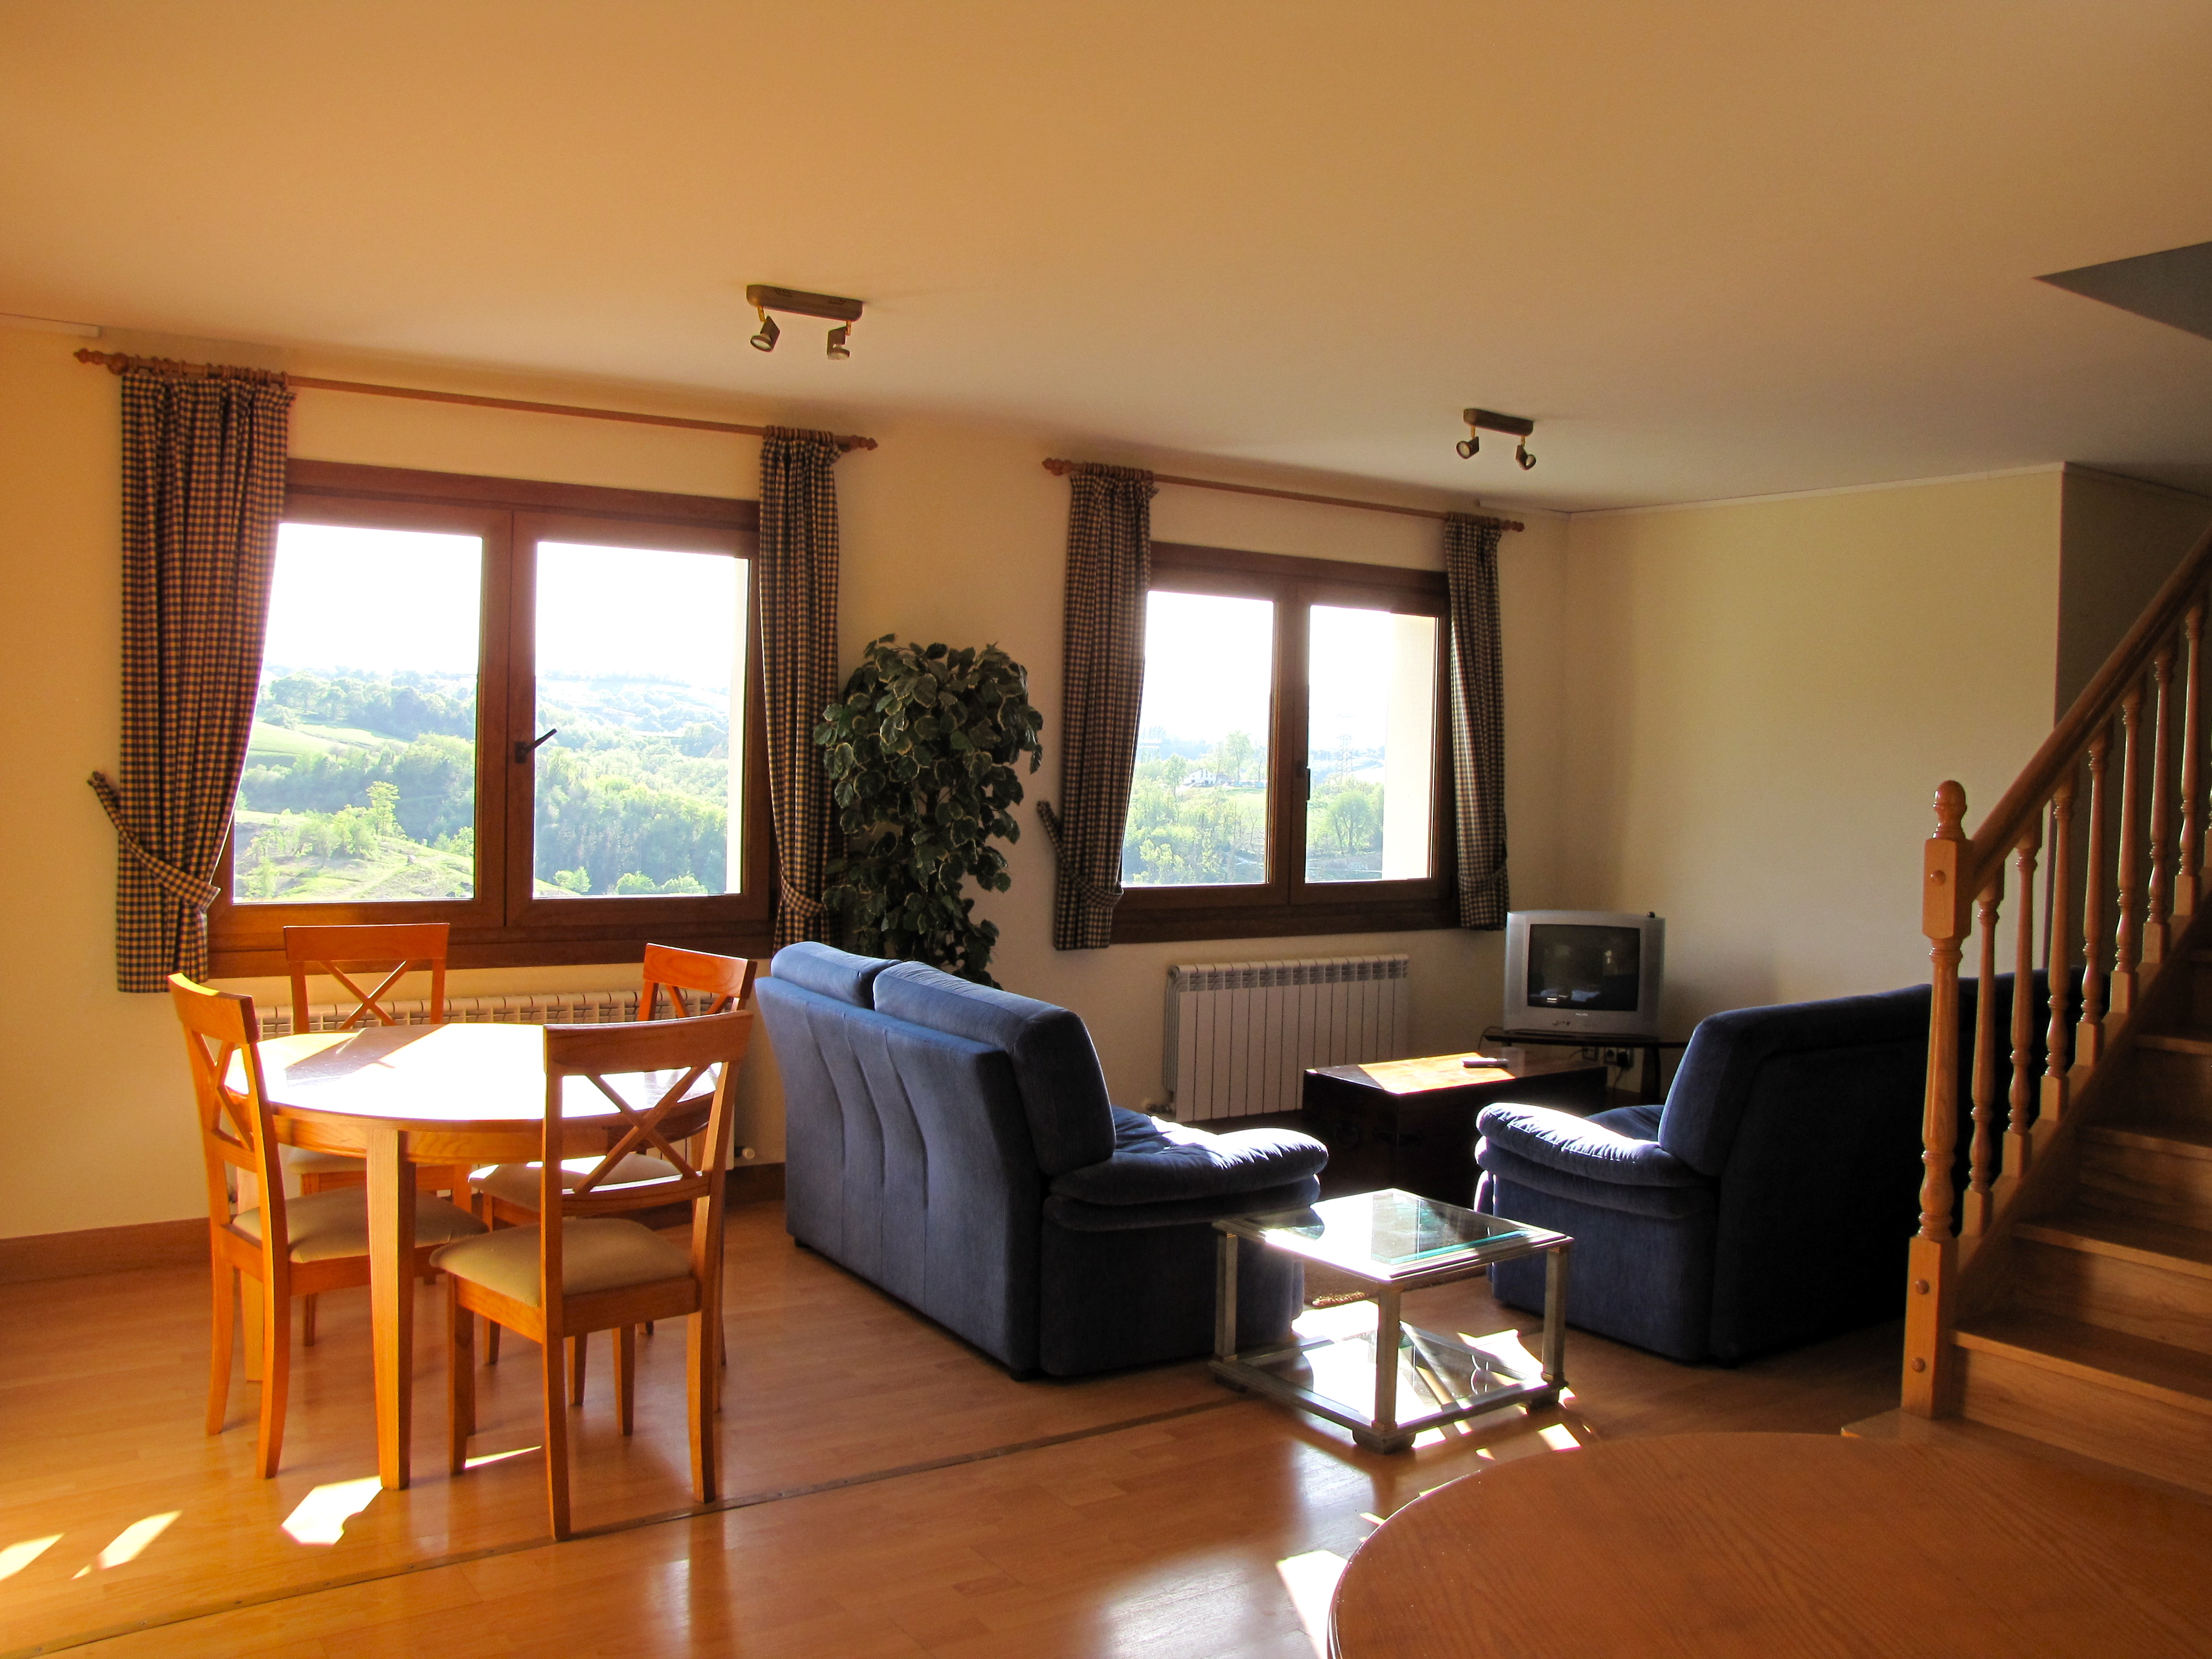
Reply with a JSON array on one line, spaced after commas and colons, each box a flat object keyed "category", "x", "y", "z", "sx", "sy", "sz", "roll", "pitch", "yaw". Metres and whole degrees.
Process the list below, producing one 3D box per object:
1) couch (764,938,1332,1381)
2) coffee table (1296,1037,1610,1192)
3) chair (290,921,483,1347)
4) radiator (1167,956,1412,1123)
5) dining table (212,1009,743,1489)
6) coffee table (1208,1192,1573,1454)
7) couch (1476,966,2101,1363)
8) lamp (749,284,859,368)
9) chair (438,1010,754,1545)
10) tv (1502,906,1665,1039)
[{"category": "couch", "x": -0.338, "y": 1.002, "z": 5.787, "sx": 1.222, "sy": 1.115, "sz": 1.988, "roll": 3, "pitch": 0, "yaw": -31}, {"category": "coffee table", "x": 1.234, "y": 1.147, "z": 7.019, "sx": 0.999, "sy": 0.487, "sz": 0.511, "roll": -1, "pitch": 2, "yaw": -30}, {"category": "chair", "x": -2.429, "y": 0.951, "z": 5.575, "sx": 0.684, "sy": 1.037, "sz": 0.787, "roll": -10, "pitch": -26, "yaw": -19}, {"category": "radiator", "x": 0.914, "y": 0.951, "z": 7.908, "sx": 1.193, "sy": 0.718, "sz": 0.136, "roll": -3, "pitch": 11, "yaw": -16}, {"category": "dining table", "x": -1.572, "y": 0.967, "z": 4.616, "sx": 1.244, "sy": 0.942, "sz": 1.286, "roll": -1, "pitch": 6, "yaw": -10}, {"category": "coffee table", "x": 0.872, "y": 1.376, "z": 4.999, "sx": 1.000, "sy": 0.523, "sz": 0.719, "roll": -4, "pitch": 9, "yaw": -31}, {"category": "couch", "x": 2.223, "y": 1.056, "z": 5.846, "sx": 1.820, "sy": 1.141, "sz": 1.063, "roll": -2, "pitch": 2, "yaw": -43}, {"category": "lamp", "x": -0.956, "y": -1.577, "z": 5.402, "sx": 0.354, "sy": 0.176, "sz": 0.503, "roll": 0, "pitch": 7, "yaw": -9}, {"category": "chair", "x": -1.327, "y": 1.024, "z": 4.387, "sx": 0.758, "sy": 1.236, "sz": 0.829, "roll": -2, "pitch": 8, "yaw": -22}, {"category": "tv", "x": 2.221, "y": 0.627, "z": 8.009, "sx": 0.896, "sy": 0.741, "sz": 0.500, "roll": 1, "pitch": 3, "yaw": 10}]
